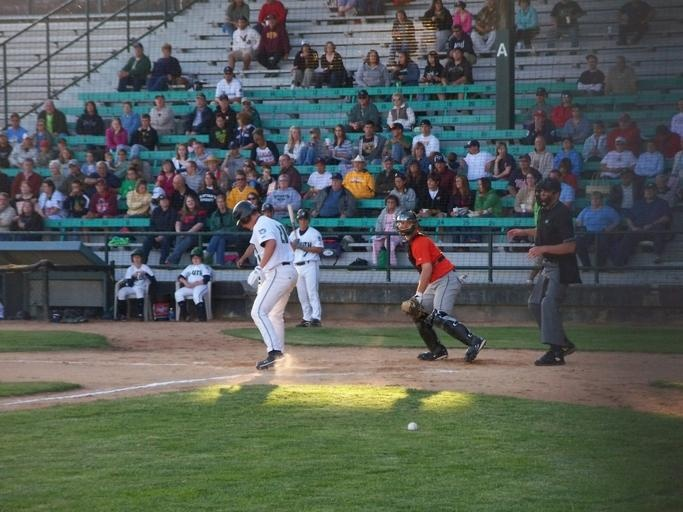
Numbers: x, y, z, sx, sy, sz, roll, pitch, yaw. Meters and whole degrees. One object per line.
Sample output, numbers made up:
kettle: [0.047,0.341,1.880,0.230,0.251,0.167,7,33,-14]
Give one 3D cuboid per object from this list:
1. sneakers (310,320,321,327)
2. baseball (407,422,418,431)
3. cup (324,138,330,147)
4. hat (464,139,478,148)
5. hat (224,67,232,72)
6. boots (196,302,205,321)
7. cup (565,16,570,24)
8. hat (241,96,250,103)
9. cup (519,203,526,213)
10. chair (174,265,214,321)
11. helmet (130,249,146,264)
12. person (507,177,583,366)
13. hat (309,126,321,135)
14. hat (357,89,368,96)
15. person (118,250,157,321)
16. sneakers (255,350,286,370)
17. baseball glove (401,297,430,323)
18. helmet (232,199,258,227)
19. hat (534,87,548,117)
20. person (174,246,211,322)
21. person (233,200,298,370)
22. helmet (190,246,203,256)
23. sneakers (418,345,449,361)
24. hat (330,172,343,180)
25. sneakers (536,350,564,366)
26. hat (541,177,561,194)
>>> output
sneakers: [-0.567,1.388,30.334,0.272,0.136,0.208,1,-2,43]
baseball: [1.078,2.590,22.248,0.126,0.081,0.120,-3,3,11]
cup: [-0.356,-2.662,33.963,0.177,0.153,0.121,1,1,-7]
hat: [2.929,-2.519,32.583,0.257,0.119,0.173,3,2,-1]
hat: [-2.829,-4.550,35.651,0.272,0.122,0.339,-1,15,0]
boots: [-3.130,1.191,31.894,0.222,0.406,0.381,-4,4,-6]
cup: [5.386,-5.572,34.399,0.188,0.172,0.079,-2,-9,19]
hat: [-2.351,-3.721,34.719,0.201,0.090,0.290,-4,3,2]
cup: [3.939,-1.031,31.253,0.165,0.262,0.154,1,11,0]
chair: [-3.405,0.753,32.325,1.250,1.449,1.114,0,2,4]
helmet: [-4.548,-0.015,32.080,0.267,0.253,0.315,1,-9,-3]
person: [3.730,0.261,25.398,0.883,3.243,0.667,-3,5,7]
hat: [-0.646,-2.943,34.009,0.319,0.264,0.224,5,3,-3]
hat: [0.474,-3.812,34.033,0.201,0.137,0.190,5,4,15]
person: [-4.620,0.616,32.001,0.963,1.459,0.889,1,5,-3]
sneakers: [-1.256,1.787,25.154,0.598,0.238,0.213,-27,14,27]
baseball glove: [1.234,0.917,25.408,0.502,0.223,0.348,24,0,-37]
helmet: [-1.798,-0.771,25.588,0.488,0.352,0.351,-16,5,6]
hat: [4.567,-3.505,32.967,0.304,0.643,1.216,-3,4,8]
person: [-3.309,0.604,31.936,0.833,1.571,0.504,-4,5,-5]
person: [-1.371,0.466,25.469,0.745,2.893,1.008,0,6,37]
helmet: [-3.246,-0.118,32.039,0.241,0.128,0.308,-3,1,-8]
sneakers: [1.666,1.721,25.883,0.584,0.218,0.216,0,2,19]
hat: [-0.133,-1.773,32.231,0.234,0.099,0.154,8,1,-6]
sneakers: [3.682,1.767,25.442,0.534,0.202,0.225,1,-1,-8]
hat: [3.708,-1.250,25.423,0.340,0.151,0.232,9,0,-26]
